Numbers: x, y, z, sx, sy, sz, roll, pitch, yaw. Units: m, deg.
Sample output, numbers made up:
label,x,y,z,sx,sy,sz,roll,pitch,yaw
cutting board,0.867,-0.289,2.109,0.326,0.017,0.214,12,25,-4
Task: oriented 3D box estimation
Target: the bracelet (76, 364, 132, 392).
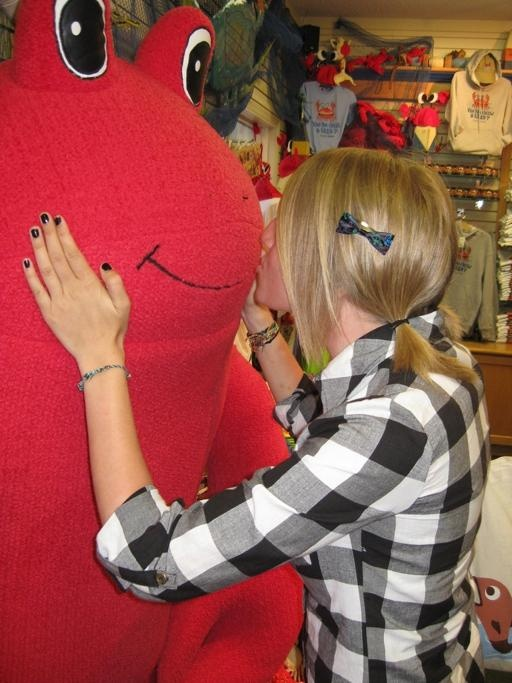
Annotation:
label,x,y,z,sx,sy,sz,roll,pitch,yaw
bracelet,-0.176,0.041,0.662,0.045,0.034,0.012,-22,15,-4
